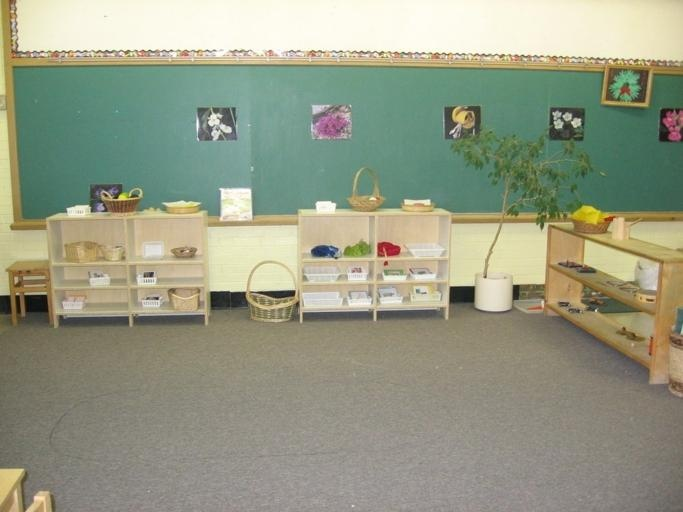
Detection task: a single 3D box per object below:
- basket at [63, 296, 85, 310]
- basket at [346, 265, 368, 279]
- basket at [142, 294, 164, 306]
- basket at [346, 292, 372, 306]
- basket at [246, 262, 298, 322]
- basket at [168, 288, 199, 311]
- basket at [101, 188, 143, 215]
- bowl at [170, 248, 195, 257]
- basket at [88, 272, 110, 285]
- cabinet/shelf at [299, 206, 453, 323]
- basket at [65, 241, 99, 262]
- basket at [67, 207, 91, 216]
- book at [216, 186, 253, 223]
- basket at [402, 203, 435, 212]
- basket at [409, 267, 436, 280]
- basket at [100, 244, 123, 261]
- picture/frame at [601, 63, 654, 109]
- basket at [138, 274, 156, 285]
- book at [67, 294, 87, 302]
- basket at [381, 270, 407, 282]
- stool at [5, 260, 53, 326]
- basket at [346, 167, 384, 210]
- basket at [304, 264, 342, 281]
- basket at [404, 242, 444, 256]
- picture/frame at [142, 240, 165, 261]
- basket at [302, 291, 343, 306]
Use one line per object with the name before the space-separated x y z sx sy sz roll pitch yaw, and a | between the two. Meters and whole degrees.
basket | -3.363 0.599 6.803 0.201 0.079 0.185 -1 9 -17
basket | 0.210 0.203 7.075 0.259 0.152 0.552 0 14 2
basket | -2.449 0.566 6.983 0.248 0.116 0.395 -5 15 -17
basket | 0.233 0.538 7.007 0.312 0.107 0.402 0 14 1
basket | -0.945 0.469 7.157 0.714 0.698 0.529 3 14 7
basket | -1.991 0.545 6.894 0.375 0.202 0.288 -1 13 -5
basket | -2.704 -0.662 6.698 0.426 0.230 0.397 -2 6 -19
bowl | -1.996 -0.040 6.859 0.286 0.136 0.279 0 14 0
basket | -3.041 0.292 6.776 0.210 0.061 0.184 -1 11 -13
cabinet/shelf | 0.383 0.124 7.030 1.659 1.027 0.509 -1 6 -6
basket | -3.195 -0.053 6.648 0.284 0.184 0.321 -1 2 -23
basket | -3.183 -0.542 6.544 0.242 0.102 0.195 -8 16 -29
book | -1.392 -0.670 7.135 0.497 0.426 0.428 0 1 -4
basket | 0.974 -0.613 6.887 0.381 0.089 0.125 0 14 3
basket | 1.057 0.240 7.028 0.329 0.097 0.243 0 14 1
basket | -2.872 -0.045 6.743 0.221 0.117 0.214 -3 4 -9
picture/frame | 3.879 -2.330 7.364 0.665 0.499 0.065 3 5 -5
basket | -2.454 0.281 6.787 0.202 0.121 0.130 -6 15 -20
book | -3.409 0.529 6.919 0.193 0.057 0.135 1 3 -22
basket | 0.690 0.254 6.976 0.304 0.100 0.263 0 14 1
stool | -3.978 0.437 6.894 0.506 0.781 0.922 -9 17 -29
basket | 0.320 -0.866 6.987 0.451 0.586 0.780 0 14 2
basket | -0.241 0.228 6.993 0.504 0.134 0.549 -1 14 -5
basket | 1.090 -0.081 7.079 0.501 0.114 0.434 0 14 1
picture/frame | -2.405 -0.087 6.974 0.373 0.302 0.191 1 8 -3
basket | -0.253 0.545 6.977 0.520 0.124 0.467 -4 14 -15
